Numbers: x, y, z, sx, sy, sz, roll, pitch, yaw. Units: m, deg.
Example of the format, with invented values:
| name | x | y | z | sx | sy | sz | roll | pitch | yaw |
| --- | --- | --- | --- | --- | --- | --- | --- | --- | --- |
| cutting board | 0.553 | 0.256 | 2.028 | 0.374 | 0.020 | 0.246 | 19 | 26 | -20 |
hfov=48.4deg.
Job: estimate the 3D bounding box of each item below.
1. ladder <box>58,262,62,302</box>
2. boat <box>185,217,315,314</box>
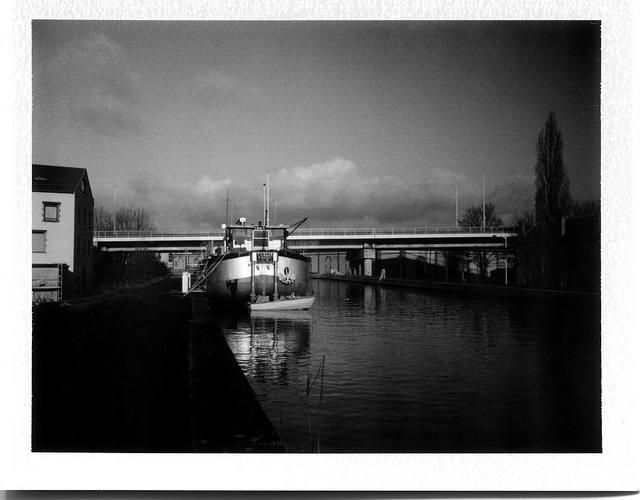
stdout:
| name | x | y | z | sx | sy | sz | roll | pitch | yaw |
| --- | --- | --- | --- | --- | --- | --- | --- | --- | --- |
| ladder | -9.554 | 1.164 | 26.216 | 0.158 | 1.223 | 2.314 | 0 | 0 | -20 |
| boat | -2.896 | 0.566 | 31.893 | 4.654 | 3.948 | 8.004 | 1 | 0 | -7 |
